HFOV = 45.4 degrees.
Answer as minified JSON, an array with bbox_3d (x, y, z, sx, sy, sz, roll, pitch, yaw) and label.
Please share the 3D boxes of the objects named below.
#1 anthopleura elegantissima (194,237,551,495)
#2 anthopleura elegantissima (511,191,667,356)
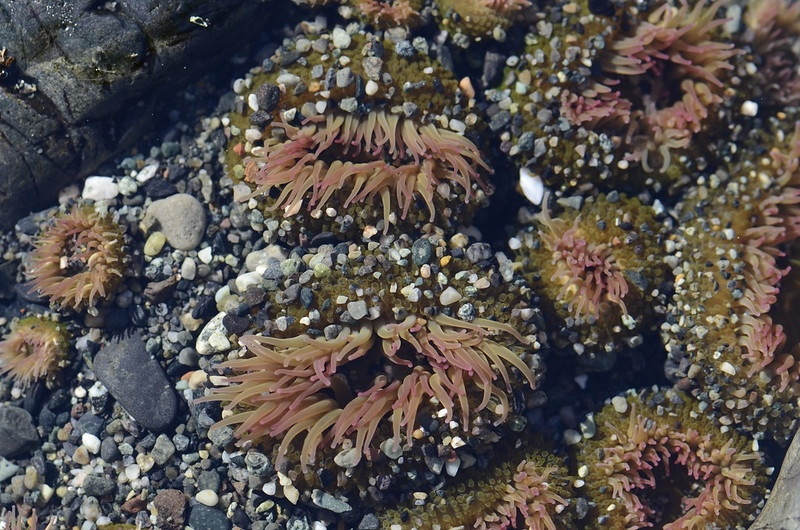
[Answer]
[{"bbox_3d":[-0.249,0.859,10.242,2.977,2.431,1.360,-12,2,-1],"label":"anthopleura elegantissima"},{"bbox_3d":[2.094,0.118,10.428,1.340,1.784,1.240,-6,27,7],"label":"anthopleura elegantissima"}]
